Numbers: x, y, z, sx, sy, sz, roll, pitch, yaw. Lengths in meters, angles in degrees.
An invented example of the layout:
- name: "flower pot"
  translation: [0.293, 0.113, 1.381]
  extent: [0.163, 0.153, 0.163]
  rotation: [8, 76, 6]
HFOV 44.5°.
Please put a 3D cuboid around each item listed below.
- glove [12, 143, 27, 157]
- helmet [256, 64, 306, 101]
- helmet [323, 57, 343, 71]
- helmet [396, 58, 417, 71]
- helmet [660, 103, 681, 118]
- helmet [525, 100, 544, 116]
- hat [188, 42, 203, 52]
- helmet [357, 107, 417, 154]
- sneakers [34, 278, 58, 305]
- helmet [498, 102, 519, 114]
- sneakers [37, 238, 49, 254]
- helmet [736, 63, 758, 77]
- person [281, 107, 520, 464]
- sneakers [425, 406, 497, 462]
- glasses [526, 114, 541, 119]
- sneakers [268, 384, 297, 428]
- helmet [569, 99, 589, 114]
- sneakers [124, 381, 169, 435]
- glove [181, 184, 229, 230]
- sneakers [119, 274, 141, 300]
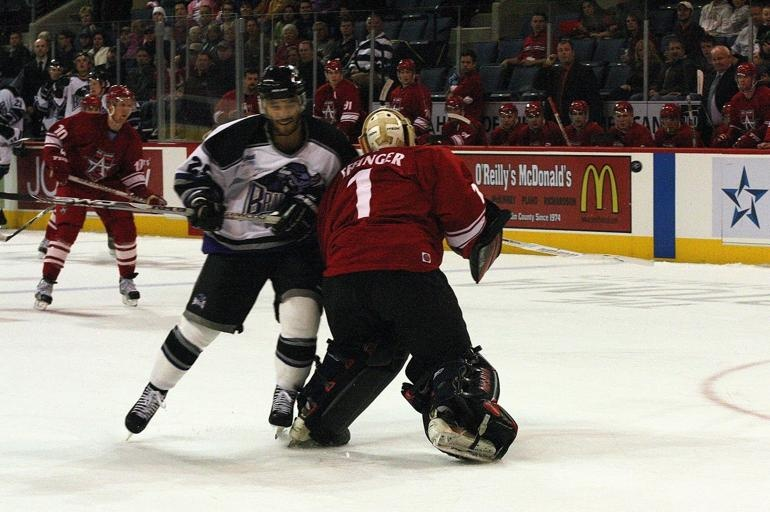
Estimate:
- name: "glove"
  translation: [-4.782, -1.391, 12.339]
  extent: [0.139, 0.142, 0.171]
  rotation: [6, 3, -5]
- name: "helmet"
  translation: [-0.511, -0.821, 4.611]
  extent: [0.253, 0.209, 0.257]
  rotation: [-3, 10, -3]
- name: "helmet"
  translation: [-0.594, -2.196, 10.765]
  extent: [0.182, 0.146, 0.147]
  rotation: [15, 15, 41]
- name: "helmet"
  translation: [0.233, -2.177, 10.708]
  extent: [0.199, 0.157, 0.167]
  rotation: [2, 4, 0]
- name: "helmet"
  translation: [2.870, -1.463, 9.494]
  extent: [0.151, 0.141, 0.167]
  rotation: [1, 7, -11]
- name: "helmet"
  translation: [1.593, -1.574, 10.112]
  extent: [0.148, 0.152, 0.180]
  rotation: [-8, -10, 10]
- name: "hat"
  translation: [-2.251, -2.496, 11.237]
  extent: [0.162, 0.066, 0.095]
  rotation: [7, 9, 22]
- name: "helmet"
  translation: [0.016, -0.609, 4.626]
  extent: [0.228, 0.245, 0.252]
  rotation: [-12, -33, 16]
- name: "sneakers"
  translation: [-2.703, 0.298, 7.498]
  extent: [0.133, 0.214, 0.303]
  rotation: [1, 4, -19]
- name: "helmet"
  translation: [1.369, -1.641, 10.455]
  extent: [0.190, 0.078, 0.242]
  rotation: [2, 7, 8]
- name: "sneakers"
  translation: [-3.658, -0.102, 10.111]
  extent: [0.090, 0.107, 0.232]
  rotation: [9, 44, -18]
- name: "helmet"
  translation: [3.486, -1.795, 9.149]
  extent: [0.193, 0.145, 0.135]
  rotation: [6, -2, 13]
- name: "person"
  translation: [0.088, 0.208, 4.327]
  extent: [1.003, 1.428, 0.550]
  rotation: [2, 4, -4]
- name: "sneakers"
  translation: [0.371, 0.758, 4.200]
  extent: [0.391, 0.145, 0.195]
  rotation: [-21, 9, 9]
- name: "glasses"
  translation: [1.588, -1.491, 10.095]
  extent: [0.137, 0.041, 0.028]
  rotation: [3, 4, 20]
- name: "sneakers"
  translation: [-0.492, 0.731, 4.484]
  extent: [0.088, 0.092, 0.258]
  rotation: [0, 16, -4]
- name: "helmet"
  translation: [2.028, -1.584, 9.905]
  extent: [0.135, 0.110, 0.165]
  rotation: [5, 10, 21]
- name: "sneakers"
  translation: [-1.144, 0.744, 4.557]
  extent: [0.160, 0.257, 0.250]
  rotation: [3, 4, 6]
- name: "glove"
  translation: [-0.866, -0.235, 4.500]
  extent: [0.199, 0.209, 0.092]
  rotation: [2, 4, -1]
- name: "sneakers"
  translation: [-2.076, 0.274, 7.722]
  extent: [0.114, 0.123, 0.329]
  rotation: [-5, 3, -24]
